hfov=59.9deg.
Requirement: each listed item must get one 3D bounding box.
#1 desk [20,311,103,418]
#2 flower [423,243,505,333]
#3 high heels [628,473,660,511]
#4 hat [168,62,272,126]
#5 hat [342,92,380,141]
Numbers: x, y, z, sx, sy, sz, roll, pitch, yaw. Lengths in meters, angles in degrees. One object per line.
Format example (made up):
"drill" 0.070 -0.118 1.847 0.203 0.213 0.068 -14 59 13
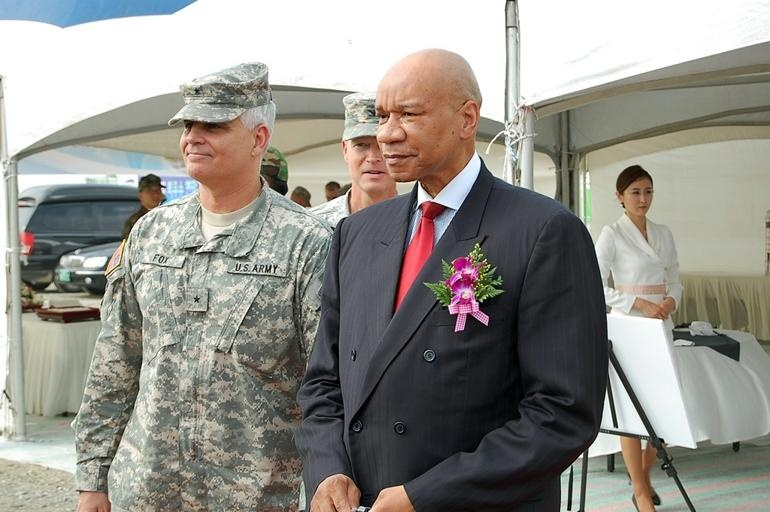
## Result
"desk" -3.844 1.293 7.574 0.954 0.912 0.936 2 -6 -26
"flower" 0.271 0.107 2.444 0.285 0.291 0.169 -3 -1 23
"high heels" 2.018 1.900 5.343 0.185 0.132 0.313 -8 18 -41
"hat" -0.775 -0.773 3.199 0.296 0.144 0.433 9 28 38
"hat" -0.157 -0.880 4.318 0.260 0.217 0.342 0 -5 -1
